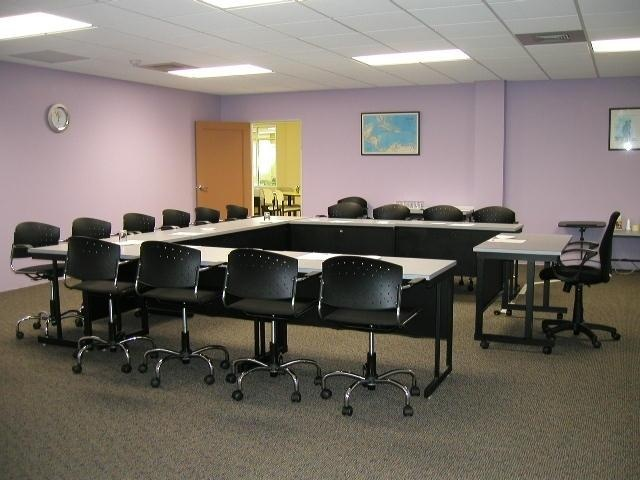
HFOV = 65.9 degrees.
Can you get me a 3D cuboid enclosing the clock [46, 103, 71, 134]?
[{"bbox_3d":[-4.010,-1.865,7.535,0.056,0.434,0.351,5,11,31],"label":"clock"}]
